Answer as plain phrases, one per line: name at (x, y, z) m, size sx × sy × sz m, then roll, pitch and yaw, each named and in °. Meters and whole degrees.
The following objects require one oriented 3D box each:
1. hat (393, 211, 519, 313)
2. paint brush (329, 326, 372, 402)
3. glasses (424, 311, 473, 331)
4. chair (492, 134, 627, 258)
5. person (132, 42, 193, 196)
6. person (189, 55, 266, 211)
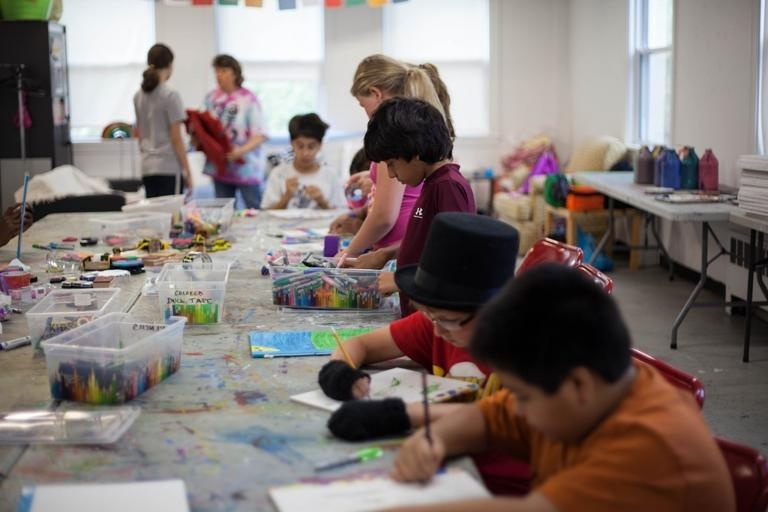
hat at (0.193, 0.006, 1.551) m, size 0.283 × 0.151 × 0.265 m, roll 4°, pitch 21°, yaw -2°
paint brush at (-0.096, 0.350, 1.763) m, size 0.073 × 0.276 × 0.068 m, roll -28°, pitch -12°, yaw 12°
glasses at (0.183, 0.174, 1.566) m, size 0.081 × 0.023 × 0.082 m, roll 4°, pitch 16°, yaw 23°
chair at (2.015, -0.686, 6.304) m, size 1.277 × 1.357 × 1.200 m, roll -1°, pitch 6°, yaw -6°
person at (-1.974, -1.193, 5.121) m, size 0.448 × 1.343 × 0.531 m, roll -6°, pitch 12°, yaw -32°
person at (-1.420, -1.155, 5.401) m, size 0.574 × 1.405 × 0.437 m, roll -2°, pitch 11°, yaw -17°
